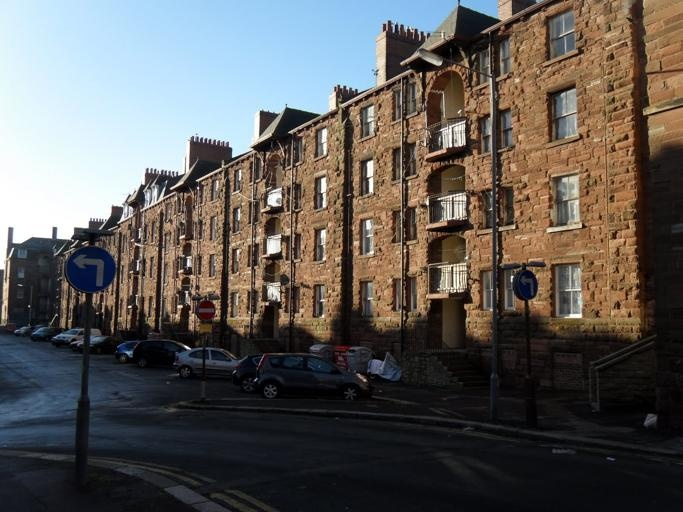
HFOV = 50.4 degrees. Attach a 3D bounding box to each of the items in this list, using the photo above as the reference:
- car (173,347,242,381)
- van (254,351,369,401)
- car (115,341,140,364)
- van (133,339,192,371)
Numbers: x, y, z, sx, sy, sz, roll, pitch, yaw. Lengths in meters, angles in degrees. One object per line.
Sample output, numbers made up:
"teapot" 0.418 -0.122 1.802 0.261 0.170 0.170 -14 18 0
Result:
"car" -6.959 5.423 36.759 3.437 1.542 1.273 -7 -14 31
"van" -1.177 4.678 28.080 3.600 1.530 1.903 -3 -8 4
"car" -14.537 6.263 47.483 2.354 1.179 1.491 -2 -3 -5
"van" -10.974 6.049 43.262 3.216 1.482 1.911 -2 -5 -1
